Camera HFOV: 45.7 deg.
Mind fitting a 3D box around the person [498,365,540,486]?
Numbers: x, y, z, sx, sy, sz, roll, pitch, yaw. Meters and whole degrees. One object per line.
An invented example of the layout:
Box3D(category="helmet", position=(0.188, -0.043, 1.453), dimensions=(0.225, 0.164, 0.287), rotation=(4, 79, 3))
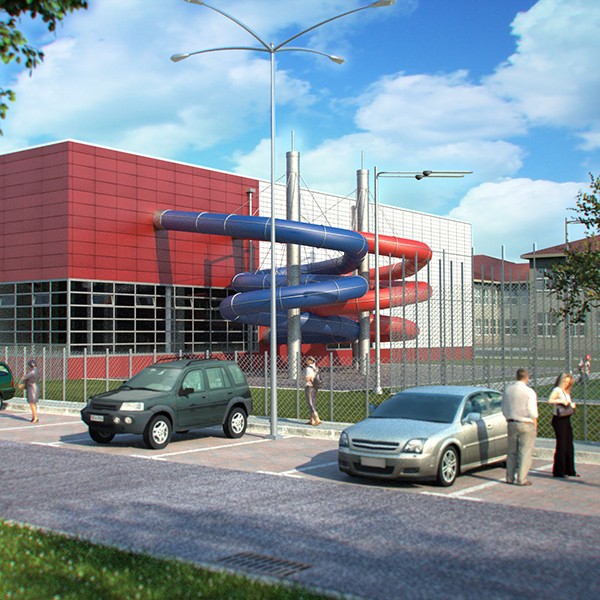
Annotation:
Box3D(category="person", position=(3.416, 1.943, 11.047), dimensions=(0.509, 1.733, 0.549), rotation=(-2, -5, 16))

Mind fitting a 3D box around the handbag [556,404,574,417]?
Box3D(category="handbag", position=(4.175, 1.738, 11.239), dimensions=(0.209, 0.072, 0.191), rotation=(-6, 17, 9))

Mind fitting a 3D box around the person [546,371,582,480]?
Box3D(category="person", position=(4.257, 2.021, 11.528), dimensions=(0.412, 1.654, 0.819), rotation=(-3, -5, 19))

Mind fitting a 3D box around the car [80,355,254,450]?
Box3D(category="car", position=(-2.949, 2.192, 15.526), dimensions=(2.041, 1.299, 2.950), rotation=(-6, -9, 37))

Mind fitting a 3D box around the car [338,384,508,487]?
Box3D(category="car", position=(2.104, 2.080, 11.302), dimensions=(1.513, 0.853, 2.401), rotation=(-4, -7, 37))

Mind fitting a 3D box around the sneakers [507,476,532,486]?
Box3D(category="sneakers", position=(3.327, 2.742, 10.818), dimensions=(0.356, 0.128, 0.113), rotation=(-1, -1, -23))
